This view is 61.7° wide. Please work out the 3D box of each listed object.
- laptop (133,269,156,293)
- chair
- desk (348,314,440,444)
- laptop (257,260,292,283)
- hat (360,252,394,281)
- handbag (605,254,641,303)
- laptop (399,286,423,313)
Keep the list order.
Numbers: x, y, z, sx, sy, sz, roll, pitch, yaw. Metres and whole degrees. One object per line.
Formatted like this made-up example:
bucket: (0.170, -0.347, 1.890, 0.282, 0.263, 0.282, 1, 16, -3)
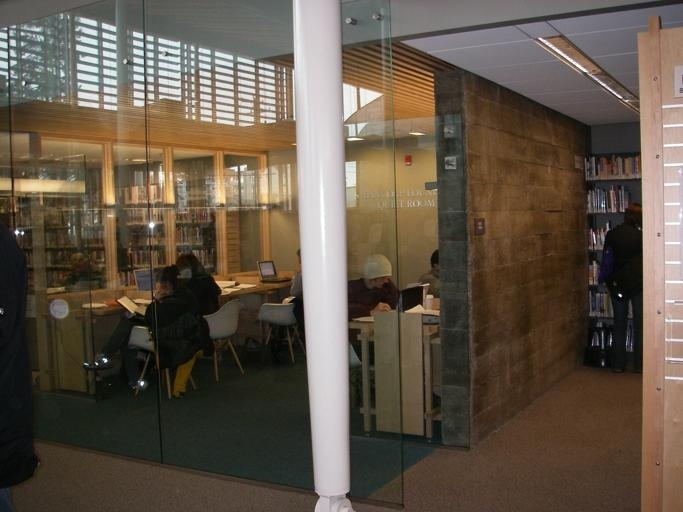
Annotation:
laptop: (-1.557, 0.190, 4.537, 0.164, 0.152, 0.013, -11, -2, 36)
chair: (-0.886, 0.677, 4.279, 0.923, 0.527, 0.304, -9, -19, 27)
desk: (0.441, 0.844, 4.181, 0.771, 0.854, 0.539, -6, -10, 31)
laptop: (-0.499, 0.101, 4.112, 0.175, 0.174, 0.139, 0, 2, -20)
hat: (0.237, 0.072, 3.863, 0.189, 0.156, 0.142, 3, 10, 13)
handbag: (3.392, 0.242, 6.903, 0.139, 0.521, 0.395, -4, 5, -34)
laptop: (0.580, 0.364, 4.879, 0.268, 0.191, 0.037, -10, 7, -43)
